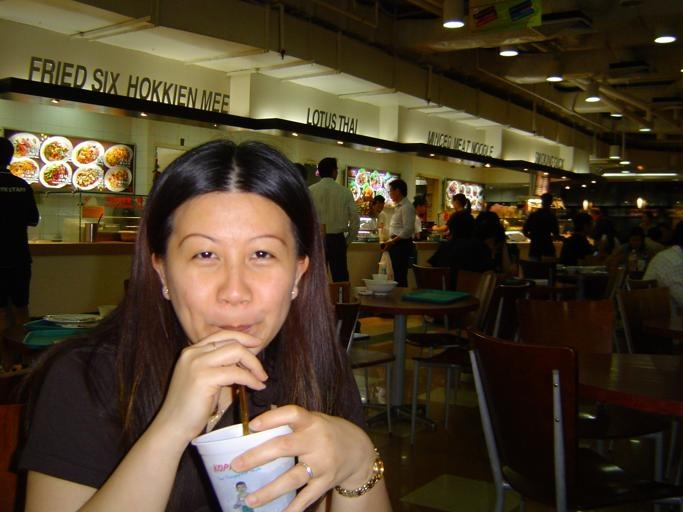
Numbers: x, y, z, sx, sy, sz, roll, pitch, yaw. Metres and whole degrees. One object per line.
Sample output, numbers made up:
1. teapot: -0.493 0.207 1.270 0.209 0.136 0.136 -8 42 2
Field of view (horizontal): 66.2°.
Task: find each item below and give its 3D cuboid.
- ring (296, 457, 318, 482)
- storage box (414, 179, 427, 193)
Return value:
1. ring: -0.055 0.330 0.811 0.017 0.034 0.027 -14 7 -43
2. storage box: 1.966 -1.755 12.974 0.356 0.332 0.352 1 9 8
